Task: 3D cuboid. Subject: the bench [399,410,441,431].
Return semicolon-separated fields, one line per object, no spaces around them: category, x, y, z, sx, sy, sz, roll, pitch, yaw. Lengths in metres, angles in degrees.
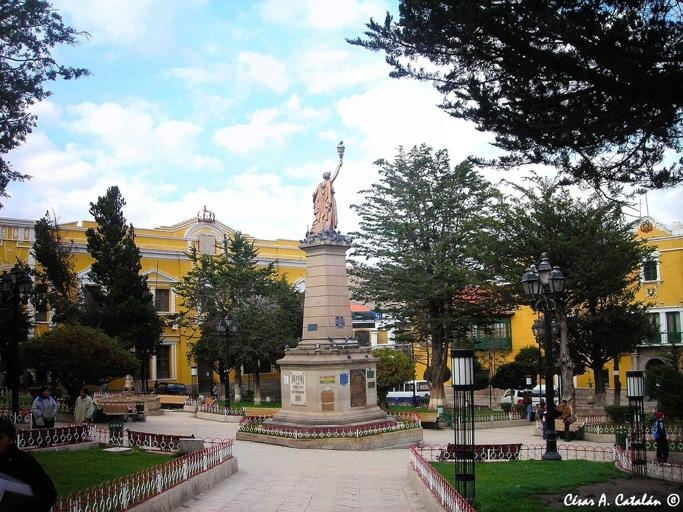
bench;3.259;6.908;33.191;1.509;0.828;5.785;-3;-10;7

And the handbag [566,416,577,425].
handbag;8.661;6.121;29.813;0.481;0.421;0.325;-1;-25;7

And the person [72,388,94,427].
person;-7.920;4.592;24.395;0.524;1.074;2.205;1;-10;-17

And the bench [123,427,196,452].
bench;-5.323;5.223;22.505;2.177;0.586;0.586;-8;-12;32

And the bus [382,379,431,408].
bus;3.983;8.663;50.010;3.726;1.585;1.474;-4;-11;30

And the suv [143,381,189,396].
suv;-11.294;8.418;50.218;2.159;1.088;1.369;-6;-8;18
